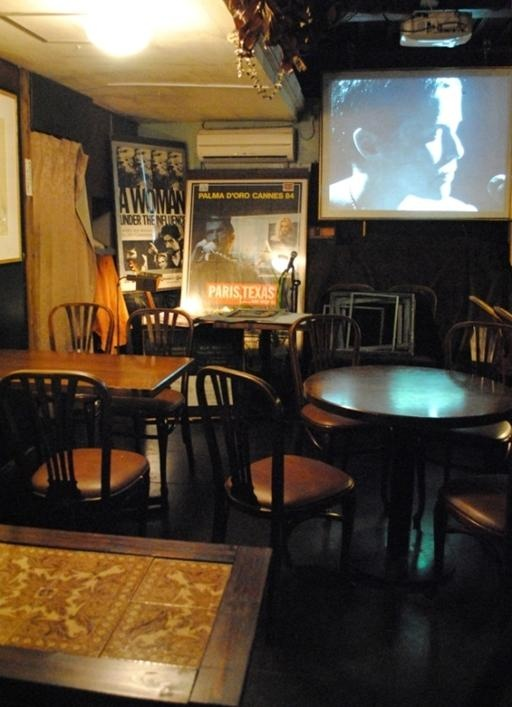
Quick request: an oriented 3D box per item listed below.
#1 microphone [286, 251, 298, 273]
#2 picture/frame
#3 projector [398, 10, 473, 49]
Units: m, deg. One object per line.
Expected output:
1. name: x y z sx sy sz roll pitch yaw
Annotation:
1. microphone: 0.275 -0.696 4.403 0.056 0.146 0.148 20 30 2
2. picture/frame: -0.377 -0.822 4.424 1.809 1.767 0.182 0 -2 -1
3. projector: 1.058 -1.866 3.345 0.351 0.126 0.260 3 13 16
